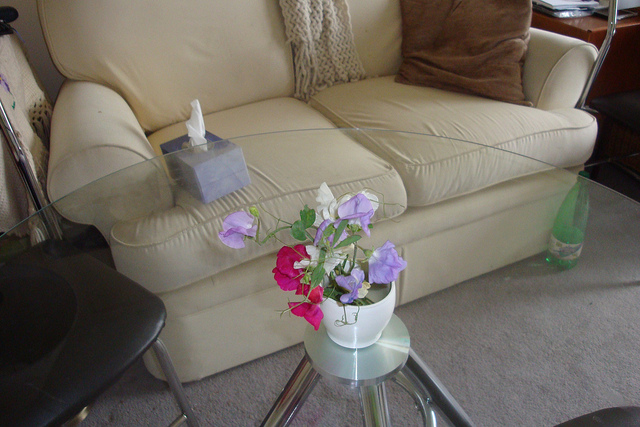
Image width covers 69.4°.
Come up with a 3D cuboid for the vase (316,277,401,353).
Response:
[{"bbox_3d":[0.086,0.232,1.027,0.161,0.115,0.167,4,20,19],"label":"vase"}]

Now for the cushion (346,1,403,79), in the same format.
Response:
[{"bbox_3d":[0.273,-0.831,2.188,0.291,0.349,0.088,-24,24,-13],"label":"cushion"}]

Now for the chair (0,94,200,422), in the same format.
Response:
[{"bbox_3d":[-0.518,0.155,1.338,0.445,0.777,0.402,34,60,14],"label":"chair"}]

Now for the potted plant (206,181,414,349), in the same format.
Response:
[{"bbox_3d":[-0.017,0.117,0.999,0.330,0.311,0.410,-10,32,-18],"label":"potted plant"}]

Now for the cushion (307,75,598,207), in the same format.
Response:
[{"bbox_3d":[0.534,-0.284,1.657,0.679,0.184,0.721,-17,41,-21],"label":"cushion"}]

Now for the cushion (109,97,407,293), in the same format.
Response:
[{"bbox_3d":[-0.264,-0.165,1.376,0.710,0.189,0.647,-23,52,-19],"label":"cushion"}]
